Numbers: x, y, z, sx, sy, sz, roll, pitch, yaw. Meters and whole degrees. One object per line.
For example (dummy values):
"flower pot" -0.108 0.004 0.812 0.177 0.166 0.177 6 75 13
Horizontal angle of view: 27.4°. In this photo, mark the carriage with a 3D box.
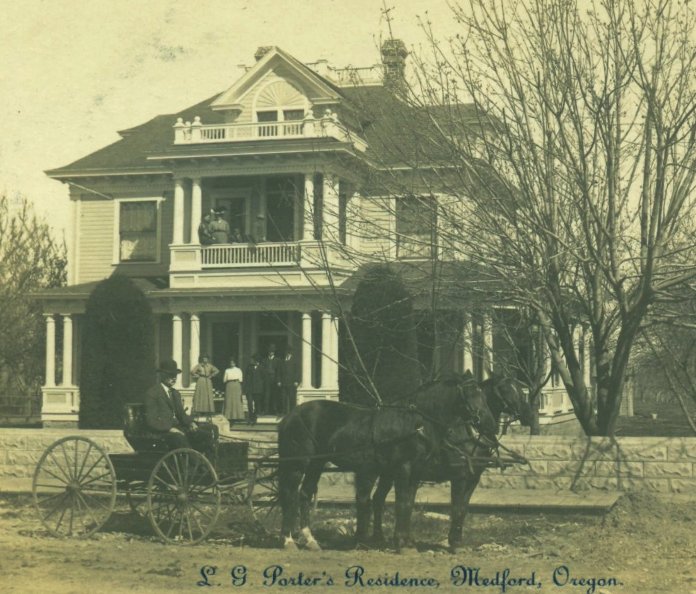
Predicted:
"carriage" -1.359 2.641 22.750 8.235 3.471 3.203 -2 -6 16

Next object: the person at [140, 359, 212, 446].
"person" -2.642 1.712 22.189 0.840 1.508 0.763 -3 2 -45
